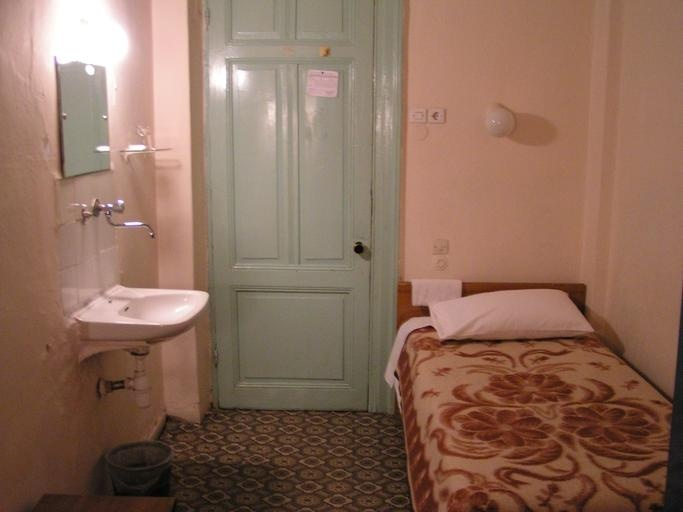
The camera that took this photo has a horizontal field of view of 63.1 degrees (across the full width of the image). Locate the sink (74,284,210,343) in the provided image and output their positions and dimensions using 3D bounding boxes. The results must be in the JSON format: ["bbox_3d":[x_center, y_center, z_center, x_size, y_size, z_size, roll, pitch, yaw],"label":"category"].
[{"bbox_3d":[-0.890,0.255,2.586,0.490,0.132,0.486,2,16,5],"label":"sink"}]

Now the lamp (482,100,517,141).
[{"bbox_3d":[0.942,-0.809,3.309,0.174,0.202,0.065,9,8,-5],"label":"lamp"}]

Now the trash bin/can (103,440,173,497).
[{"bbox_3d":[-0.944,1.002,2.630,0.287,0.218,0.269,10,13,38],"label":"trash bin/can"}]
